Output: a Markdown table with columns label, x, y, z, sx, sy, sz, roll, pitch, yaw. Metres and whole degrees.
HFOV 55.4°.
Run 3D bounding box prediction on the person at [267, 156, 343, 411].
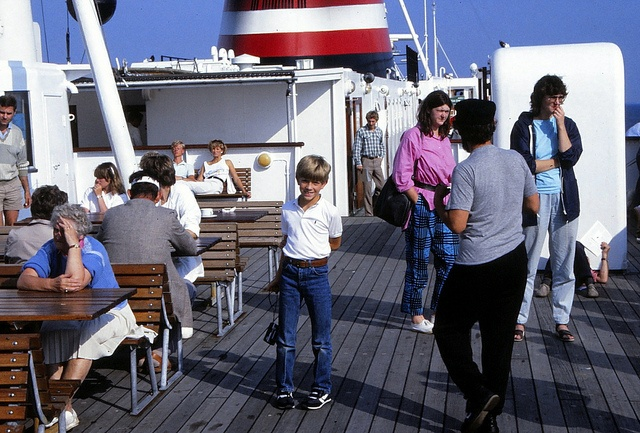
| label | x | y | z | sx | sy | sz | roll | pitch | yaw |
| --- | --- | --- | --- | --- | --- | --- | --- | --- | --- |
| person | -0.106 | 0.553 | 5.065 | 0.615 | 2.093 | 0.387 | -3 | 8 | -7 |

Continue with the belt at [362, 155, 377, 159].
| label | x | y | z | sx | sy | sz | roll | pitch | yaw |
| --- | --- | --- | --- | --- | --- | --- | --- | --- | --- |
| belt | 1.097 | -1.291 | 13.320 | 0.299 | 0.066 | 0.063 | -1 | 10 | 7 |

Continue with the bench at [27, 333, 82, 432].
| label | x | y | z | sx | sy | sz | roll | pitch | yaw |
| --- | --- | --- | --- | --- | --- | --- | --- | --- | --- |
| bench | -1.982 | 1.226 | 4.548 | 0.298 | 0.651 | 0.768 | 1 | 8 | -13 |

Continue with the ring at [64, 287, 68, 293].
| label | x | y | z | sx | sy | sz | roll | pitch | yaw |
| --- | --- | --- | --- | --- | --- | --- | --- | --- | --- |
| ring | -1.981 | 0.585 | 4.778 | 0.029 | 0.031 | 0.009 | 15 | 13 | 26 |

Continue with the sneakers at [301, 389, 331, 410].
| label | x | y | z | sx | sy | sz | roll | pitch | yaw |
| --- | --- | --- | --- | --- | --- | --- | --- | --- | --- |
| sneakers | -0.035 | 1.529 | 5.059 | 0.111 | 0.125 | 0.259 | 1 | 1 | 33 |

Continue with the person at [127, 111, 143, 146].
| label | x | y | z | sx | sy | sz | roll | pitch | yaw |
| --- | --- | --- | --- | --- | --- | --- | --- | --- | --- |
| person | -4.675 | -2.249 | 15.562 | 0.372 | 0.869 | 1.558 | -4 | 11 | -16 |

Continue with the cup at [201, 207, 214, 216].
| label | x | y | z | sx | sy | sz | roll | pitch | yaw |
| --- | --- | --- | --- | --- | --- | --- | --- | --- | --- |
| cup | -1.576 | -0.057 | 8.516 | 0.150 | 0.083 | 0.131 | 3 | 4 | 21 |

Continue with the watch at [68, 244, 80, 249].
| label | x | y | z | sx | sy | sz | roll | pitch | yaw |
| --- | --- | --- | --- | --- | --- | --- | --- | --- | --- |
| watch | -1.915 | 0.232 | 4.774 | 0.077 | 0.037 | 0.037 | -9 | 12 | -34 |

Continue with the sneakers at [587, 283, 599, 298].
| label | x | y | z | sx | sy | sz | roll | pitch | yaw |
| --- | --- | --- | --- | --- | --- | --- | --- | --- | --- |
| sneakers | 3.315 | 0.911 | 7.432 | 0.077 | 0.075 | 0.230 | -8 | 11 | 14 |

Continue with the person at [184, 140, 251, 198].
| label | x | y | z | sx | sy | sz | roll | pitch | yaw |
| --- | --- | --- | --- | --- | --- | --- | --- | --- | --- |
| person | -2.308 | -0.946 | 12.016 | 1.148 | 1.217 | 1.620 | 3 | 7 | 30 |

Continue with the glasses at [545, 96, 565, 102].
| label | x | y | z | sx | sy | sz | roll | pitch | yaw |
| --- | --- | --- | --- | --- | --- | --- | --- | --- | --- |
| glasses | 2.318 | -1.156 | 5.963 | 0.191 | 0.076 | 0.100 | -9 | 12 | -33 |

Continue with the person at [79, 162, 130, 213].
| label | x | y | z | sx | sy | sz | roll | pitch | yaw |
| --- | --- | --- | --- | --- | --- | --- | --- | --- | --- |
| person | -3.045 | -0.295 | 8.668 | 0.589 | 0.899 | 0.483 | 6 | -10 | -1 |
